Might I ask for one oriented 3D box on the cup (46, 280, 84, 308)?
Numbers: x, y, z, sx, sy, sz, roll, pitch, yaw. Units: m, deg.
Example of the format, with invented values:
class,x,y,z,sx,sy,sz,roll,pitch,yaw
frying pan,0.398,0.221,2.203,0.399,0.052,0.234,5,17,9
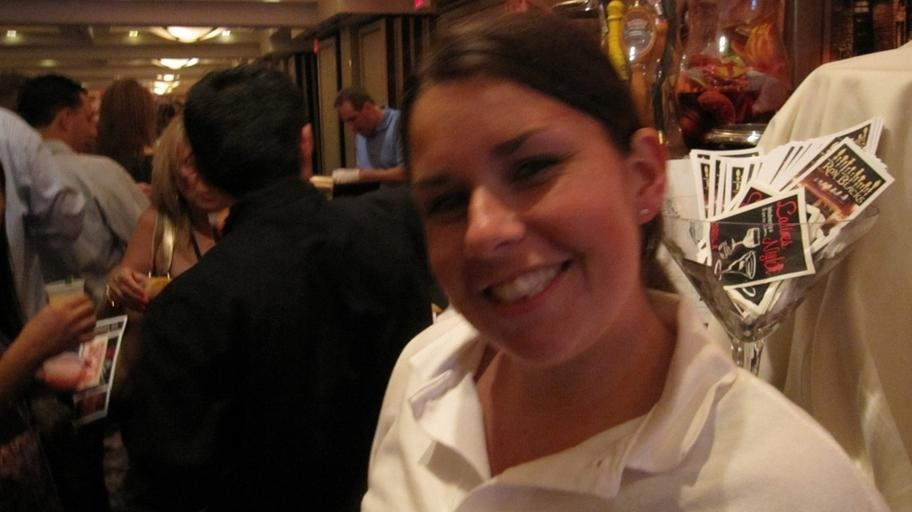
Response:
class,x,y,z,sx,sy,sz,roll,pitch,yaw
cup,-1.387,0.122,2.415,0.135,0.091,0.122,-5,5,-42
